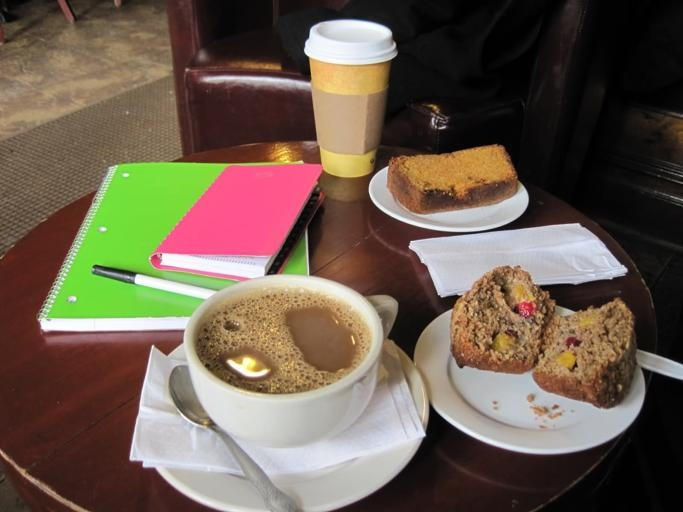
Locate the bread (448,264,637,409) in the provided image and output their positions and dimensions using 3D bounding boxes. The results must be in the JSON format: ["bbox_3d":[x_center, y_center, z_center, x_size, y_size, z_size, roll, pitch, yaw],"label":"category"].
[{"bbox_3d":[0.255,0.112,0.702,0.179,0.068,0.160,13,47,14],"label":"bread"}]

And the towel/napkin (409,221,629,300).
[{"bbox_3d":[0.277,0.001,0.857,0.238,0.030,0.143,-8,38,-11],"label":"towel/napkin"}]

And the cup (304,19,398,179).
[{"bbox_3d":[0.025,-0.353,1.168,0.237,0.341,0.248,2,37,-2],"label":"cup"}]

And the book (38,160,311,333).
[{"bbox_3d":[-0.281,0.002,0.868,0.275,0.041,0.299,-2,40,9],"label":"book"}]
